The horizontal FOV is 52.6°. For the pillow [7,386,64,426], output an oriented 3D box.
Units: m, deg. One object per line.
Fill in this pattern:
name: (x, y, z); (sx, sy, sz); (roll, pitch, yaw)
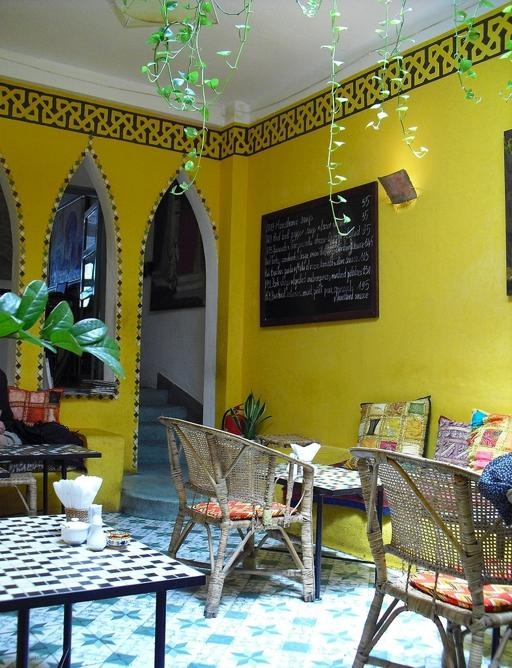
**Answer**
pillow: (-1.894, 0.613, 4.398); (0.346, 0.342, 0.102); (2, -21, -27)

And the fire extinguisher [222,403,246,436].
fire extinguisher: (-0.201, 0.873, 5.350); (0.257, 0.354, 0.290); (12, -14, -36)

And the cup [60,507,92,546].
cup: (-0.528, 0.563, 1.510); (0.071, 0.066, 0.092); (2, -11, -3)

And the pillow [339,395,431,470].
pillow: (0.894, 0.637, 3.594); (0.671, 0.651, 0.197); (-7, -28, 43)

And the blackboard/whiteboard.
blackboard/whiteboard: (0.604, -0.723, 4.706); (0.060, 1.126, 1.381); (8, -11, -39)

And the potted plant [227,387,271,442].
potted plant: (-0.109, 0.852, 5.401); (0.406, 0.447, 0.442); (-2, -6, 19)
